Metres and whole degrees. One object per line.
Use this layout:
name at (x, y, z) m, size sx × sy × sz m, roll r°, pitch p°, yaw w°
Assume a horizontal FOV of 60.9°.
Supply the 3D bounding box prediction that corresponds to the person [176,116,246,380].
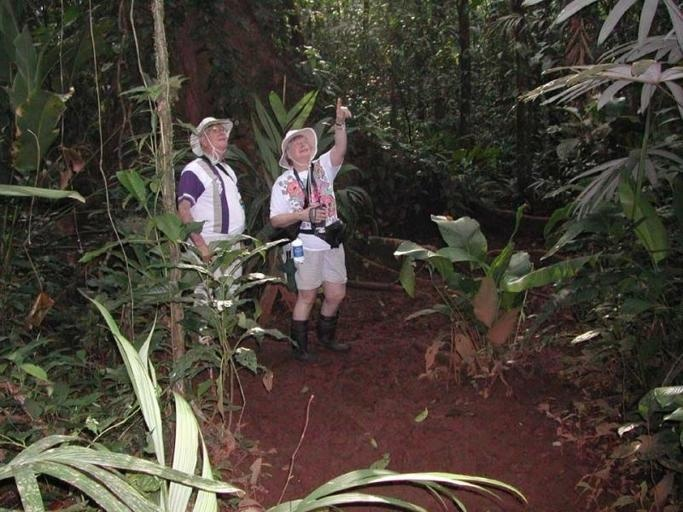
person at (-0.948, -0.327, 4.280) m, size 0.463 × 1.289 × 1.264 m, roll -8°, pitch 21°, yaw -9°

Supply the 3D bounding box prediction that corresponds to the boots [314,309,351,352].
boots at (-0.070, 0.646, 4.950) m, size 0.295 × 0.333 × 0.160 m, roll 8°, pitch 19°, yaw 17°

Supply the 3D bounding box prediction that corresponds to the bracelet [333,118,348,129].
bracelet at (-0.008, -1.029, 4.577) m, size 0.125 × 0.106 × 0.180 m, roll 2°, pitch 14°, yaw 3°

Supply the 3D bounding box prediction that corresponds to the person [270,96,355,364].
person at (-0.200, -0.144, 4.680) m, size 0.708 × 2.076 × 0.501 m, roll -10°, pitch 21°, yaw -14°

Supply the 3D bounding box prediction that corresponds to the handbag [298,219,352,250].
handbag at (-0.145, -0.212, 4.610) m, size 0.280 × 0.196 × 0.218 m, roll 14°, pitch 9°, yaw 6°

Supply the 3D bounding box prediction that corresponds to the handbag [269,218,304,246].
handbag at (-0.426, -0.182, 4.516) m, size 0.154 × 0.068 × 0.164 m, roll -16°, pitch 17°, yaw 28°
